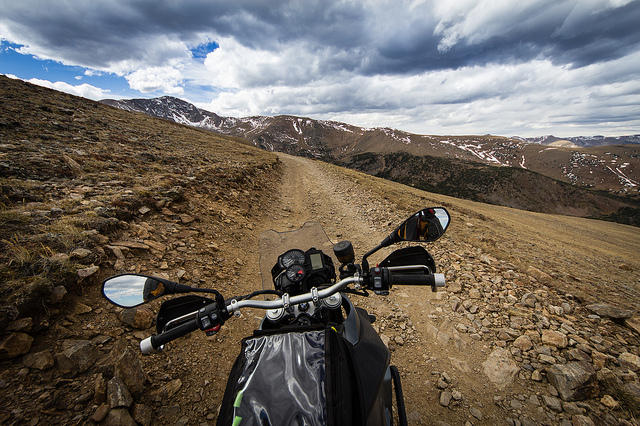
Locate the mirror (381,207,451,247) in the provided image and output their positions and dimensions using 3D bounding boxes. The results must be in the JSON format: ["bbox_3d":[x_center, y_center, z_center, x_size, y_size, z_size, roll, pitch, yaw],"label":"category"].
[{"bbox_3d":[2.349,0.224,6.545,2.117,0.595,0.350,-20,1,-20],"label":"mirror"}]
